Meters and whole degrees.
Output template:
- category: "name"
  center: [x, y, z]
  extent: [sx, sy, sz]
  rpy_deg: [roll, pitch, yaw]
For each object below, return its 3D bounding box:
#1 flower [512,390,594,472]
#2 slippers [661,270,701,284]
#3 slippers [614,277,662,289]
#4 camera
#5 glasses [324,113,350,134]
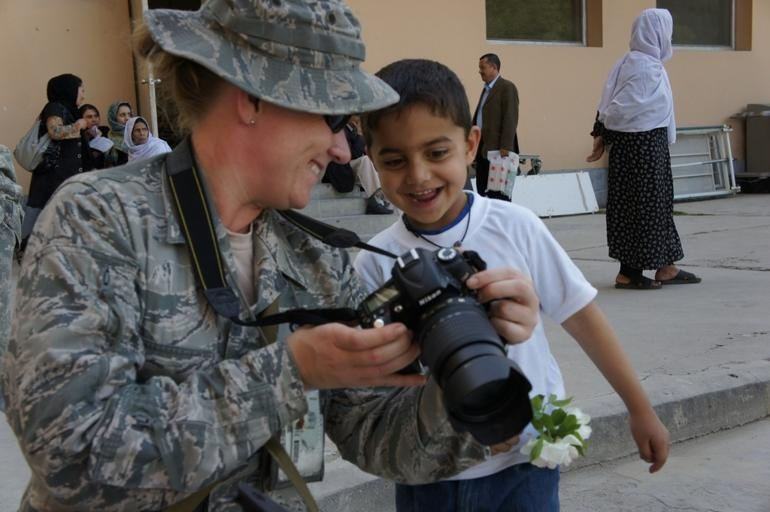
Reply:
- category: "flower"
  center: [0.628, 0.626, 2.698]
  extent: [0.309, 0.317, 0.177]
  rpy_deg: [1, -35, -3]
- category: "slippers"
  center: [2.665, 0.190, 6.540]
  extent: [0.362, 0.136, 0.137]
  rpy_deg: [-2, 6, 9]
- category: "slippers"
  center: [2.264, 0.207, 6.411]
  extent: [0.354, 0.108, 0.156]
  rpy_deg: [0, 6, 17]
- category: "camera"
  center: [0.204, 0.273, 2.317]
  extent: [0.480, 0.355, 0.593]
  rpy_deg: [-30, 48, -5]
- category: "glasses"
  center: [-0.160, -0.464, 2.487]
  extent: [0.055, 0.044, 0.072]
  rpy_deg: [10, -10, -29]
